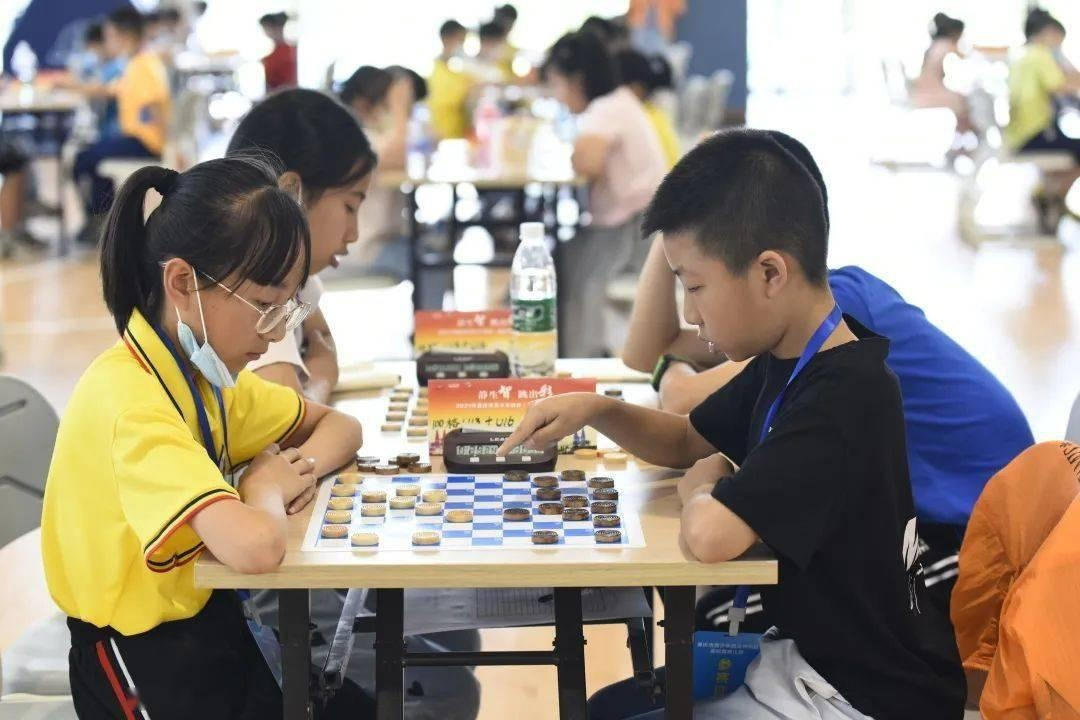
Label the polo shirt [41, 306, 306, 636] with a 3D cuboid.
[{"bbox_3d":[-0.735,0.215,2.622,0.563,0.778,0.946,5,6,-1],"label":"polo shirt"}]

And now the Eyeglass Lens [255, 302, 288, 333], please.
[{"bbox_3d":[-0.582,-0.086,2.379,0.057,0.020,0.057,24,44,23],"label":"Eyeglass Lens"}]

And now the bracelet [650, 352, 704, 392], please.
[{"bbox_3d":[0.378,0.040,3.005,0.077,0.107,0.105,8,4,12],"label":"bracelet"}]

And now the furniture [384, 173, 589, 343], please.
[{"bbox_3d":[-0.271,-0.631,6.356,1.027,1.036,1.065,-1,4,0],"label":"furniture"}]

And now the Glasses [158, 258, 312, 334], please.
[{"bbox_3d":[-0.660,-0.095,2.393,0.207,0.073,0.165,27,0,-1],"label":"Glasses"}]
